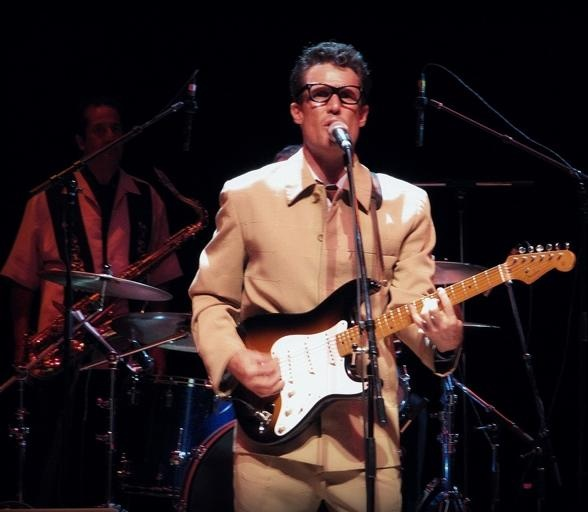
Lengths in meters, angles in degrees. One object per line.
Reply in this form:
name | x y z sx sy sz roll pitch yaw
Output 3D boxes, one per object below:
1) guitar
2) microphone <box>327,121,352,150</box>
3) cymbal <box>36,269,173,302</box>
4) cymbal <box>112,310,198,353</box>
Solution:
guitar | 0.348 0.409 3.901 2.159 0.632 0.222 -18 -11 4
microphone | 0.215 -0.551 3.899 0.108 0.194 0.190 0 -16 3
cymbal | -1.201 0.190 5.398 0.796 0.170 0.559 11 -18 -34
cymbal | -0.983 0.491 5.591 0.634 0.286 0.423 -13 -21 42
